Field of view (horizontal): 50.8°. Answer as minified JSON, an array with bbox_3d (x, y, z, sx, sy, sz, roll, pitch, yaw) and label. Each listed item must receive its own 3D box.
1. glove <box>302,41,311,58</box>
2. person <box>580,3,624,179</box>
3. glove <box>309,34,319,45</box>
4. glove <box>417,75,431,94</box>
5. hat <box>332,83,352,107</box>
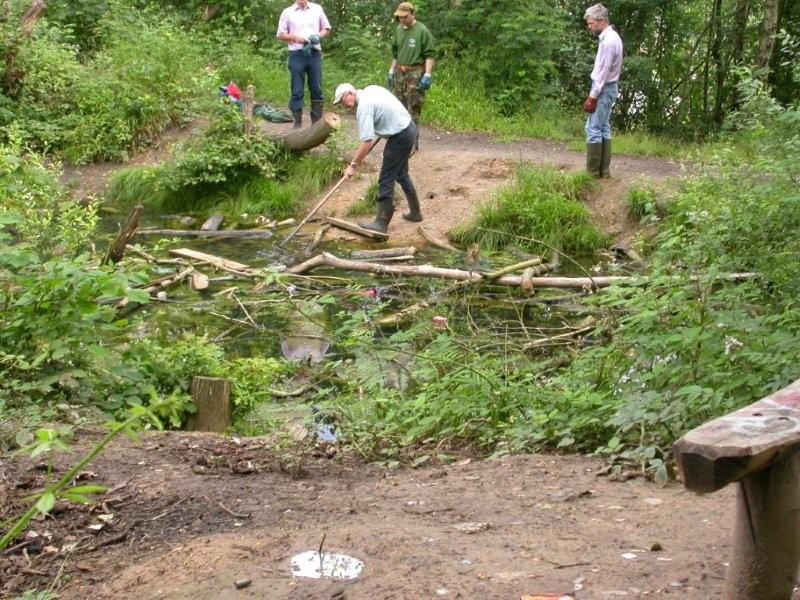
[{"bbox_3d":[-1.631,-4.482,14.937,0.192,0.244,0.119,-5,21,-18],"label":"glove"},{"bbox_3d":[3.234,-3.350,13.684,0.616,2.776,0.997,7,20,13],"label":"person"},{"bbox_3d":[-1.504,-4.637,14.925,0.141,0.162,0.169,6,62,6],"label":"glove"},{"bbox_3d":[0.452,-3.701,14.295,0.130,0.293,0.251,7,-7,-33],"label":"glove"},{"bbox_3d":[-0.800,-2.983,12.126,0.256,0.240,0.453,1,19,-3],"label":"hat"}]
